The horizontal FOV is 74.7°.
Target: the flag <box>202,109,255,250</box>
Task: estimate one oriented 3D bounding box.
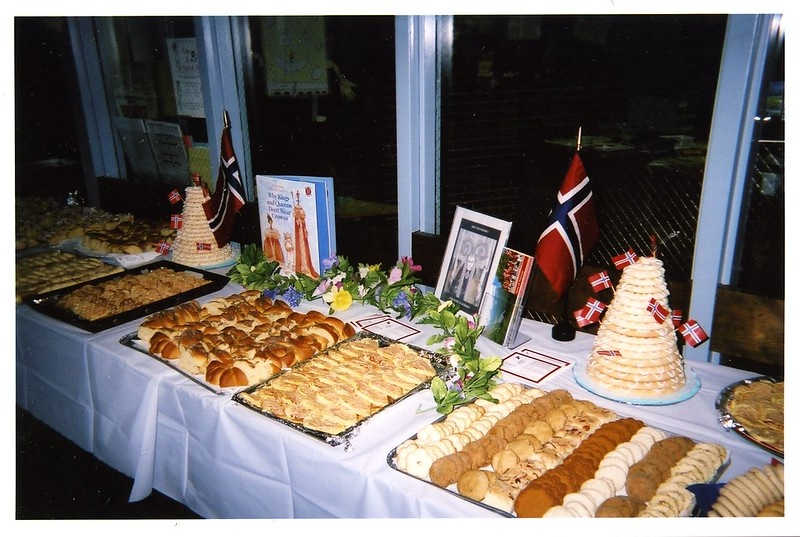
[{"bbox_3d":[-1.162,-0.597,3.449,0.289,0.973,0.100,-3,-8,6],"label":"flag"}]

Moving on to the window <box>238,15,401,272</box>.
[{"bbox_3d":[-0.537,-0.845,3.622,1.510,1.732,0.140,14,20,38],"label":"window"}]

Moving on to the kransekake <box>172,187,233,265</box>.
[{"bbox_3d":[-1.301,-0.328,3.743,0.494,0.497,0.513,-4,20,-17],"label":"kransekake"}]

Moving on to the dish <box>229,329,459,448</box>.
[{"bbox_3d":[-0.238,0.508,2.336,0.462,0.061,0.579,18,31,36],"label":"dish"}]

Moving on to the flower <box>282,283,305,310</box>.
[{"bbox_3d":[-0.613,0.160,3.041,0.119,0.109,0.096,30,-1,-7],"label":"flower"}]

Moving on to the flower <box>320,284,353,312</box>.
[{"bbox_3d":[-0.352,0.158,2.850,0.152,0.145,0.075,-26,-6,-10],"label":"flower"}]

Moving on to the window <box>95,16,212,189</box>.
[{"bbox_3d":[-2.050,-1.340,4.431,0.110,1.215,1.053,13,18,21],"label":"window"}]

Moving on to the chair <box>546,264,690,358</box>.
[{"bbox_3d":[0.936,0.185,2.516,0.571,0.362,0.483,-10,40,-13],"label":"chair"}]

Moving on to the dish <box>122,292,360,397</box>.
[{"bbox_3d":[-0.803,0.338,2.661,0.704,0.126,0.540,10,18,32],"label":"dish"}]

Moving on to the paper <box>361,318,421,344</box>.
[{"bbox_3d":[-0.051,0.328,2.718,0.210,0.015,0.163,8,26,24],"label":"paper"}]

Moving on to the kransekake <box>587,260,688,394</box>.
[{"bbox_3d":[1.088,0.289,2.321,0.437,0.546,0.442,10,16,26],"label":"kransekake"}]
